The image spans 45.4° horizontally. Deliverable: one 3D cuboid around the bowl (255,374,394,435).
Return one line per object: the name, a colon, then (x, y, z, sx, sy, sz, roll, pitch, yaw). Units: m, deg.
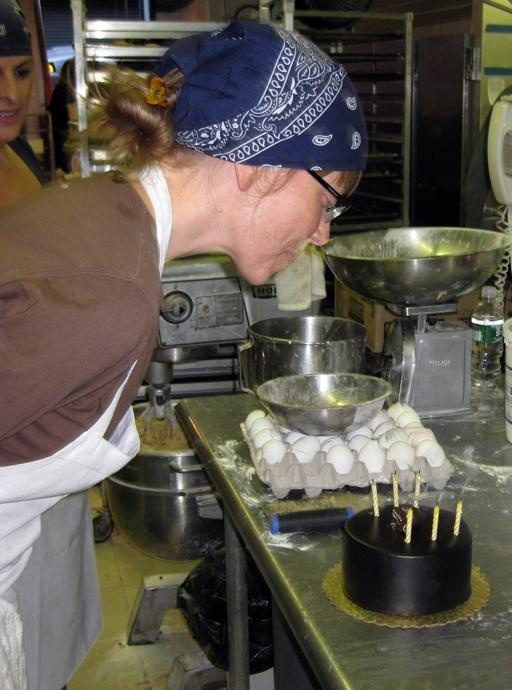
bowl: (0.117, 0.100, 0.989, 0.205, 0.065, 0.208, -4, 12, 1)

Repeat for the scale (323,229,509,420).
scale: (0.360, -0.094, 1.333, 0.412, 0.379, 0.400, -12, 23, -21)

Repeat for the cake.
cake: (0.157, 0.212, 0.637, 0.128, 0.103, 0.124, 2, 12, 19)

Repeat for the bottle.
bottle: (0.518, 0.014, 1.376, 0.069, 0.261, 0.072, 3, 21, -1)
